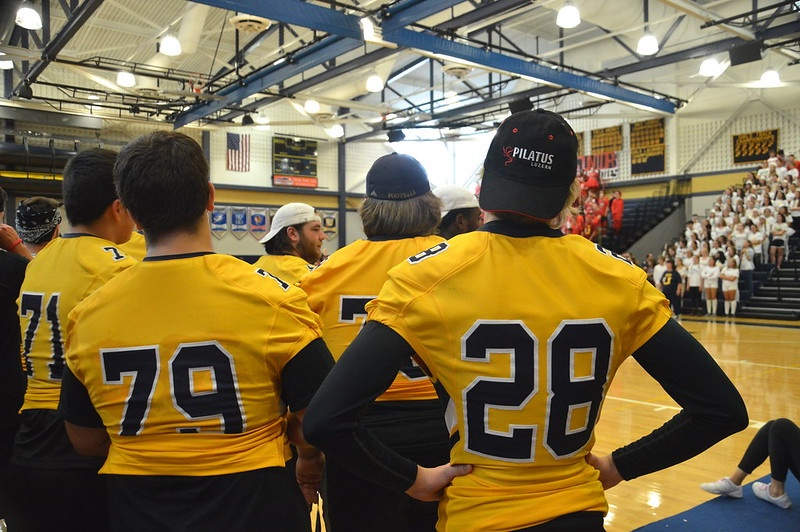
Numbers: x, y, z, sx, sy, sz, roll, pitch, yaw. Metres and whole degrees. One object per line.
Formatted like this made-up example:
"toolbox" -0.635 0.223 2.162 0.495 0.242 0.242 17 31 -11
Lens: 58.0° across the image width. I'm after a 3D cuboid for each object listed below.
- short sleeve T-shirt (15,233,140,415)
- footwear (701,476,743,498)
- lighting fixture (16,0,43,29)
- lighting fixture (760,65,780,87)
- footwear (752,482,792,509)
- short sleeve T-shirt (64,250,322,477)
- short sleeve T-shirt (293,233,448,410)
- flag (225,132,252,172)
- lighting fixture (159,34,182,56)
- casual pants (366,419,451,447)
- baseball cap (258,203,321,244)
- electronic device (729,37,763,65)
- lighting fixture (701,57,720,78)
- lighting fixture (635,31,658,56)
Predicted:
"short sleeve T-shirt" -1.832 0.349 4.183 0.922 0.958 0.549 -3 -9 23
"footwear" 2.396 1.652 5.411 0.345 0.163 0.129 2 1 22
"lighting fixture" -4.630 -3.181 9.041 0.239 0.360 0.586 2 7 -24
"lighting fixture" 7.009 -3.608 13.618 0.341 0.354 0.675 8 7 24
"footwear" 2.653 1.656 5.180 0.103 0.122 0.280 -26 27 -21
"short sleeve T-shirt" -1.076 0.490 3.748 1.363 1.127 0.778 -3 11 8
"short sleeve T-shirt" -0.232 0.139 4.475 1.036 1.035 0.579 -4 38 -23
"flag" -4.746 -3.403 21.161 1.084 1.536 0.149 -4 10 -43
"lighting fixture" -3.253 -3.173 10.291 0.237 0.314 0.717 3 7 -15
"casual pants" 0.063 0.916 3.969 0.305 0.122 0.231 1 -6 -1
"baseball cap" -0.764 -0.323 5.082 0.455 0.253 0.312 -13 -7 -6
"electronic device" 5.806 -3.632 12.137 0.483 0.452 0.419 8 7 21
"lighting fixture" 5.086 -3.323 11.844 0.244 0.316 0.602 7 7 16
"lighting fixture" 3.679 -3.323 10.682 0.243 0.311 0.517 8 7 23
